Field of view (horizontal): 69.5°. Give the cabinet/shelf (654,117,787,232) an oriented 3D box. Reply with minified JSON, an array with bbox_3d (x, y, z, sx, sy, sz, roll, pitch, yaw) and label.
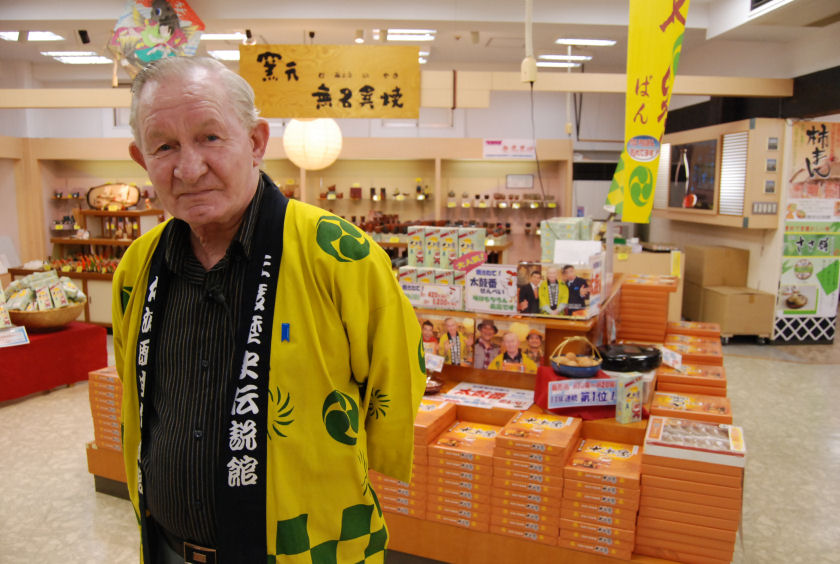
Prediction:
[{"bbox_3d":[4.518,-1.625,8.953,0.331,1.128,2.073,-4,11,-14],"label":"cabinet/shelf"}]

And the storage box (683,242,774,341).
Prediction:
[{"bbox_3d":[4.486,0.132,8.663,0.518,1.002,1.445,0,5,-6],"label":"storage box"}]

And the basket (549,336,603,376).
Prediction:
[{"bbox_3d":[1.095,0.490,4.176,0.291,0.214,0.293,0,-4,37],"label":"basket"}]
